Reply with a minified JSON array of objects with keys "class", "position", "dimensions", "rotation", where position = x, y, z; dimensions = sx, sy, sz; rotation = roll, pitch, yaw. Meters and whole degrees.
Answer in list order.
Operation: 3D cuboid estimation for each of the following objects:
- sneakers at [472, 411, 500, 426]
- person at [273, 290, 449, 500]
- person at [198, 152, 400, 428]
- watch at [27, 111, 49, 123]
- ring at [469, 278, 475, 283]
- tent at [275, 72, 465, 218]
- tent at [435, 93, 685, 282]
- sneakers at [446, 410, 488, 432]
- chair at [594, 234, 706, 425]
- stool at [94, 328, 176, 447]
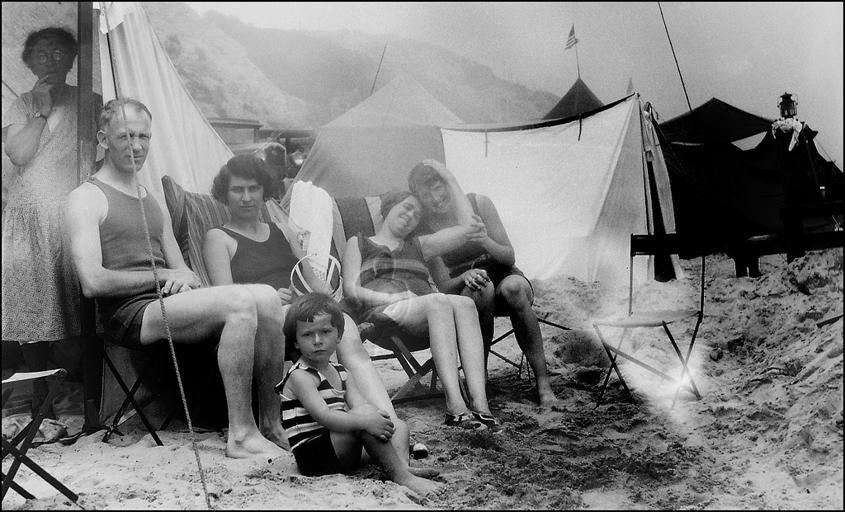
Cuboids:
[{"class":"sneakers","position":[0.326,0.818,3.600],"dimensions":[0.152,0.057,0.046],"rotation":[22,-5,-3]},{"class":"person","position":[-0.315,0.629,3.268],"dimensions":[0.637,0.817,0.288],"rotation":[-6,2,-12]},{"class":"person","position":[-0.510,0.129,3.463],"dimensions":[1.497,1.206,0.548],"rotation":[14,20,43]},{"class":"watch","position":[-1.959,-0.713,3.669],"dimensions":[0.069,0.025,0.051],"rotation":[-2,0,22]},{"class":"ring","position":[0.263,0.130,3.772],"dimensions":[0.021,0.015,0.021],"rotation":[0,-4,0]},{"class":"tent","position":[-0.305,-0.565,3.867],"dimensions":[0.783,0.421,0.725],"rotation":[-3,3,3]},{"class":"tent","position":[0.907,-0.412,4.255],"dimensions":[1.776,0.898,1.805],"rotation":[1,12,22]},{"class":"sneakers","position":[0.218,0.817,3.583],"dimensions":[0.178,0.059,0.093],"rotation":[-1,3,21]},{"class":"chair","position":[1.202,0.331,3.767],"dimensions":[0.661,0.603,0.282],"rotation":[-5,2,8]},{"class":"stool","position":[-1.465,0.708,3.590],"dimensions":[0.336,0.438,0.267],"rotation":[33,-25,-36]}]
